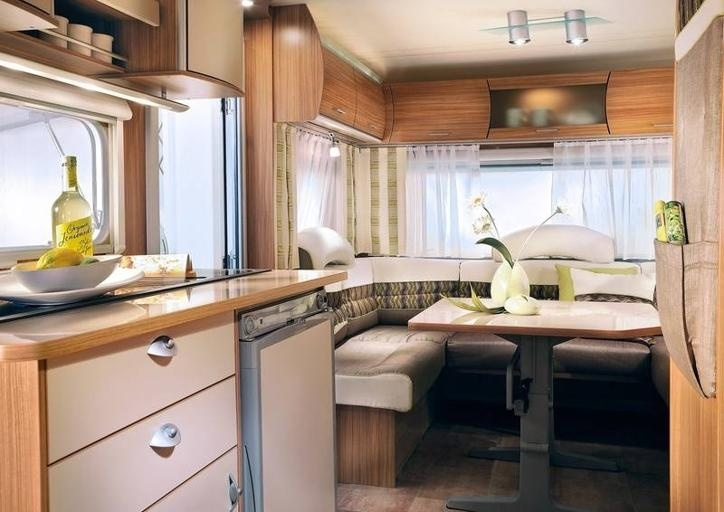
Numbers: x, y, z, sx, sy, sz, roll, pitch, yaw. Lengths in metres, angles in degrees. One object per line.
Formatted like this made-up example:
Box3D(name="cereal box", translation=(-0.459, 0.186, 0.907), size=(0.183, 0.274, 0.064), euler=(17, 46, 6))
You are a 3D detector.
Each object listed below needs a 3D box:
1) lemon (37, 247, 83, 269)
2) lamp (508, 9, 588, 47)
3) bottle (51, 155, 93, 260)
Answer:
Box3D(name="lemon", translation=(-0.838, 0.001, 1.483), size=(0.063, 0.057, 0.101), euler=(11, 14, 30))
Box3D(name="lamp", translation=(1.163, -1.438, 3.311), size=(0.536, 0.149, 0.269), euler=(-1, 6, 0))
Box3D(name="bottle", translation=(-0.940, -0.158, 1.701), size=(0.116, 0.325, 0.235), euler=(-5, 7, -28))
